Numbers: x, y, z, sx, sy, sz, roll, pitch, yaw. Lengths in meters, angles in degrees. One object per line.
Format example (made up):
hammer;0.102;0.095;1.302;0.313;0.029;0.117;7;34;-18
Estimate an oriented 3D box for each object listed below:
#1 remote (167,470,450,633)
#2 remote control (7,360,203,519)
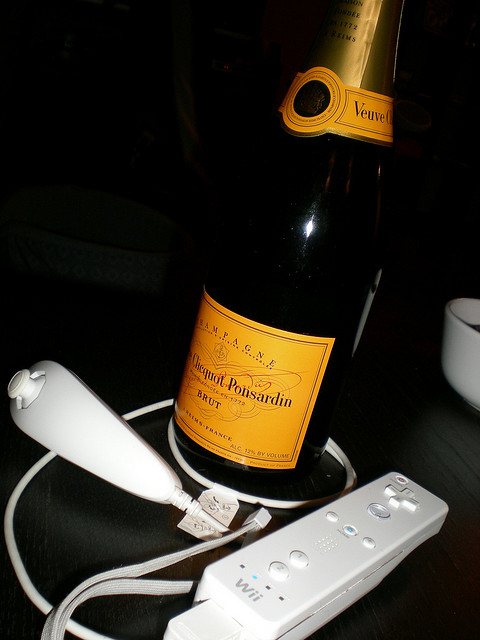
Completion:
remote;0.046;0.091;0.262;0.177;0.029;0.046;-10;29;-43
remote control;-0.072;0.064;0.273;0.119;0.036;0.028;28;29;18
